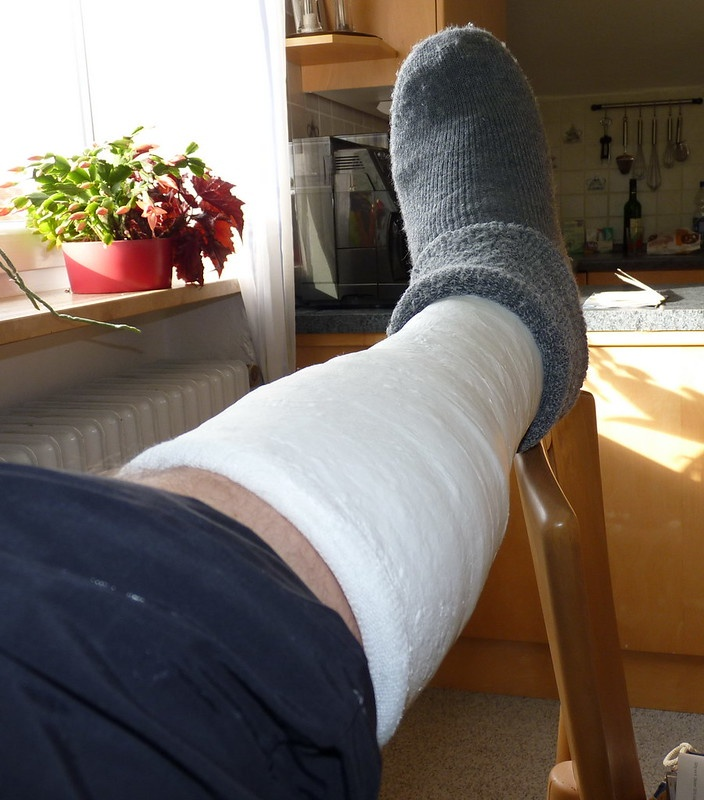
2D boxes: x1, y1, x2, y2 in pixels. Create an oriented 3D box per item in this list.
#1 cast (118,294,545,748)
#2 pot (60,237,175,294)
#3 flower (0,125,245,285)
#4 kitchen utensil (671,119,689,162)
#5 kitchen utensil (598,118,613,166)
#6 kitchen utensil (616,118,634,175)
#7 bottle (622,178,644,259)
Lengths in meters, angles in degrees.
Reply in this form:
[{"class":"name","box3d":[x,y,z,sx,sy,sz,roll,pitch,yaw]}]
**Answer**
[{"class":"cast","box3d":[0.017,0.032,0.371,0.125,0.097,0.258,29,32,13]},{"class":"pot","box3d":[-0.367,-0.207,1.069,0.157,0.067,0.169,-6,10,1]},{"class":"flower","box3d":[-0.343,-0.277,1.078,0.358,0.218,0.251,-5,14,-24]},{"class":"kitchen utensil","box3d":[1.578,-1.249,3.249,0.078,0.211,0.059,16,27,38]},{"class":"kitchen utensil","box3d":[1.248,-1.281,3.333,0.062,0.210,0.057,6,22,19]},{"class":"kitchen utensil","box3d":[1.344,-1.243,3.310,0.081,0.285,0.075,7,23,22]},{"class":"bottle","box3d":[1.354,-0.880,3.249,0.106,0.341,0.334,7,22,20]}]
